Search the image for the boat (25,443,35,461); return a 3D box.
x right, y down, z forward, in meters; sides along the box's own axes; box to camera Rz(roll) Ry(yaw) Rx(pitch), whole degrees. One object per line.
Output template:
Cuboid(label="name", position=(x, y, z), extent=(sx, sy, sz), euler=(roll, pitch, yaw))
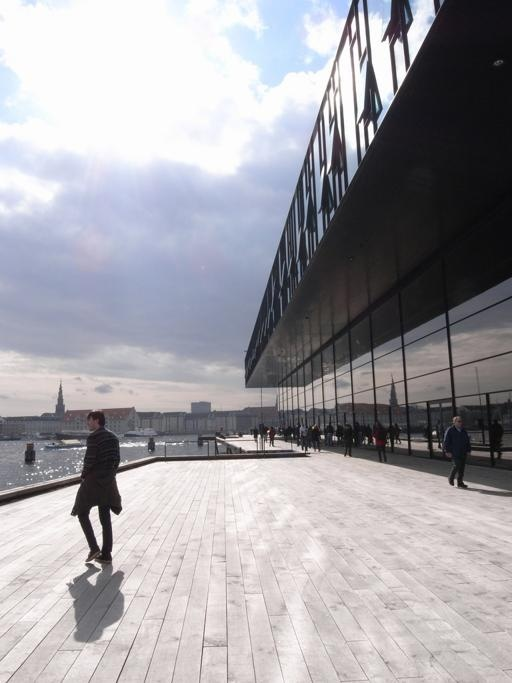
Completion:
Cuboid(label="boat", position=(-36.464, 17.966, 65.536), extent=(1.229, 3.106, 2.497), euler=(4, -10, -35))

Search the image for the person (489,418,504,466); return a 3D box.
Cuboid(label="person", position=(7.086, 2.920, 11.851), extent=(0.224, 1.350, 0.904), euler=(-2, -8, 9))

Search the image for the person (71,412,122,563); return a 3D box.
Cuboid(label="person", position=(-1.614, 1.453, 4.159), extent=(0.463, 1.472, 0.707), euler=(2, -8, -25))

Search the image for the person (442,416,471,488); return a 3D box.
Cuboid(label="person", position=(4.638, 2.489, 9.234), extent=(0.492, 1.556, 1.924), euler=(-5, -10, 27))

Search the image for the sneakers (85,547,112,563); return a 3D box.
Cuboid(label="sneakers", position=(-1.488, 2.066, 3.874), extent=(0.275, 0.160, 0.120), euler=(-4, -14, 30))

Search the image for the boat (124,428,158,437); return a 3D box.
Cuboid(label="boat", position=(-46.946, 37.215, 164.649), extent=(8.021, 2.975, 13.535), euler=(-12, -15, 40))

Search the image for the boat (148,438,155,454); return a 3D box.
Cuboid(label="boat", position=(-22.402, 22.390, 87.831), extent=(1.001, 3.408, 17.194), euler=(1, -12, -15))
